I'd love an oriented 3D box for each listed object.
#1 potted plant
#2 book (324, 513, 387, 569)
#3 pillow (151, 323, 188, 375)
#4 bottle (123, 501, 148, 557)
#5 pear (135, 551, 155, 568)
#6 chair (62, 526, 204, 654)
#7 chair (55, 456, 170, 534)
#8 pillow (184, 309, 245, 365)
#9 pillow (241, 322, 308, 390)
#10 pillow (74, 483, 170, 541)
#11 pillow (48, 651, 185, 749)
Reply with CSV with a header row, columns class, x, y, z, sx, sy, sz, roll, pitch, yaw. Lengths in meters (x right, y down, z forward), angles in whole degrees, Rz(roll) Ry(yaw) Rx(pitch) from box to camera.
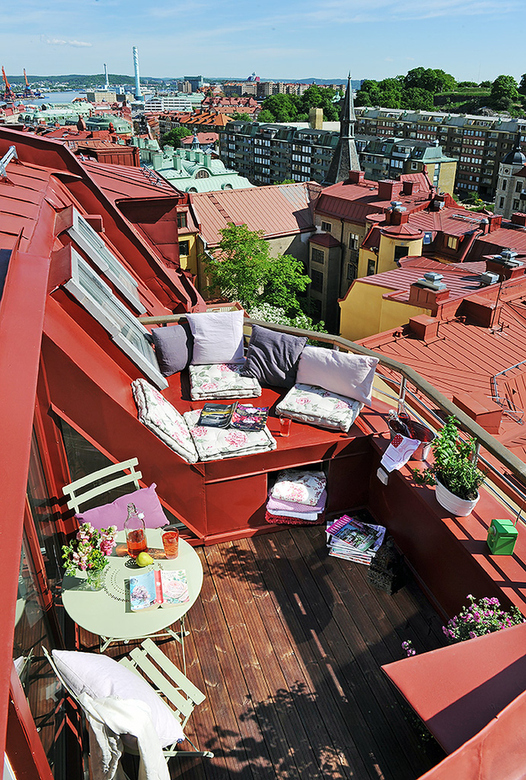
class,x,y,z,sx,sy,sz,roll,pitch,yaw
potted plant,1.514,0.629,4.203,0.596,0.939,0.571,6,38,11
book,0.833,1.372,4.768,0.538,0.188,0.434,11,29,20
pillow,-1.053,-0.444,5.765,0.228,0.374,0.473,21,27,31
bottle,-0.958,1.055,3.860,0.176,0.458,0.162,2,23,-1
pear,-0.835,1.190,3.600,0.137,0.106,0.107,2,16,-11
chair,-0.845,1.340,3.398,0.761,0.465,0.764,13,58,-1
chair,-1.229,0.862,4.239,0.577,0.478,0.650,-24,6,-16
pillow,-0.562,-0.576,5.901,0.618,0.612,0.218,-1,2,-3
pillow,0.127,-0.348,5.729,0.595,0.535,0.296,15,36,11
pillow,-1.105,0.971,4.077,0.520,0.142,0.322,-16,66,-21
pillow,-0.694,1.466,2.489,0.368,0.413,0.546,-23,35,-37
